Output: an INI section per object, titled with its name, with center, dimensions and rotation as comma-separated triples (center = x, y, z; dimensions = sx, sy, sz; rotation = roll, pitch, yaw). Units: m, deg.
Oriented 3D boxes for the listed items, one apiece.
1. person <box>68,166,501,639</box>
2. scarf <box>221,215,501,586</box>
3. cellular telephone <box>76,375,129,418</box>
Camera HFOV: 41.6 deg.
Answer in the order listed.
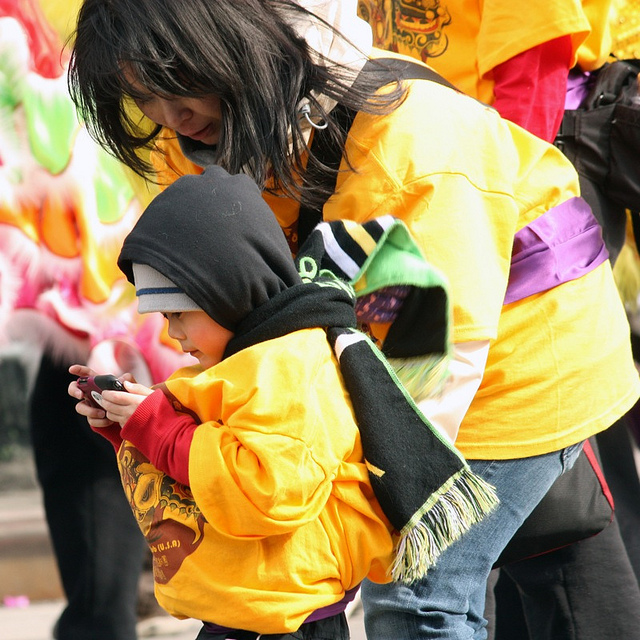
[person]
center = -0.113, 0.126, 1.758
dimensions = 0.696, 1.089, 0.605
rotation = -3, -1, -15
[scarf]
center = 0.039, 0.124, 1.518
dimensions = 0.483, 0.592, 0.273
rotation = -31, -18, -39
[cellular telephone]
center = -0.387, 0.119, 1.472
dimensions = 0.027, 0.068, 0.102
rotation = -19, 36, -37
